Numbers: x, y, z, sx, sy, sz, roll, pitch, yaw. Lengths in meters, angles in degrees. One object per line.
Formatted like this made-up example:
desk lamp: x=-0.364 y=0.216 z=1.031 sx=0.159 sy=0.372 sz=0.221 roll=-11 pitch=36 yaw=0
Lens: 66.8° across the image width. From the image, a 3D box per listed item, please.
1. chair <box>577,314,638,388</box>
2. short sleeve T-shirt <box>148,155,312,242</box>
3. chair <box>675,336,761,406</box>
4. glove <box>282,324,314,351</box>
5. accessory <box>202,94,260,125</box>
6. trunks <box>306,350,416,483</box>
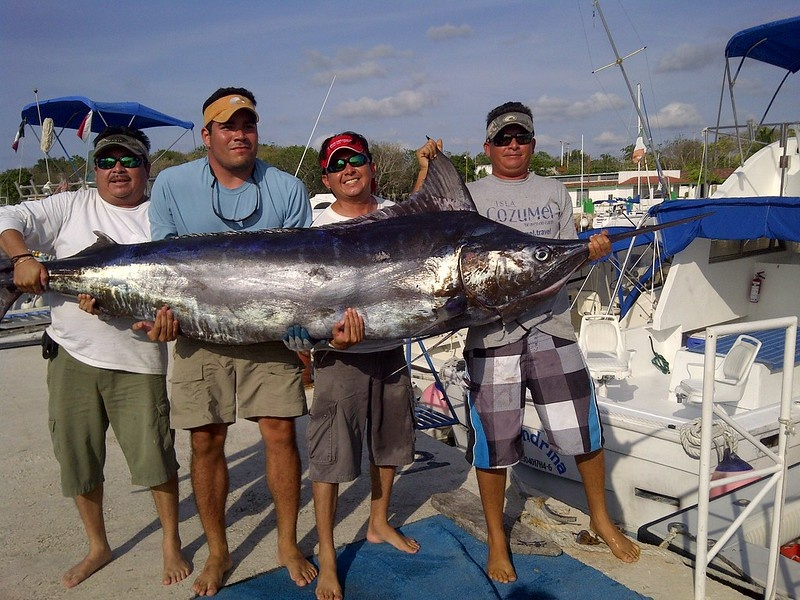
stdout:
chair: x=2.060 y=0.474 z=6.159 sx=0.451 sy=0.673 sz=0.555 roll=0 pitch=-5 yaw=5
short sleeve T-shirt: x=-1.016 y=-0.476 z=3.697 sx=0.981 sy=0.712 sz=0.436 roll=2 pitch=-19 yaw=-13
chair: x=2.797 y=0.614 z=5.349 sx=0.611 sy=0.562 sz=0.477 roll=0 pitch=10 yaw=2
glove: x=-0.550 y=0.213 z=3.267 sx=0.114 sy=0.157 sz=0.060 roll=-7 pitch=15 yaw=6
accessory: x=-0.984 y=-1.087 z=3.495 sx=0.296 sy=0.173 sz=0.157 roll=-4 pitch=9 yaw=-13
trunks: x=-0.214 y=0.631 z=3.726 sx=0.681 sy=0.913 sz=0.294 roll=-7 pitch=16 yaw=-20
